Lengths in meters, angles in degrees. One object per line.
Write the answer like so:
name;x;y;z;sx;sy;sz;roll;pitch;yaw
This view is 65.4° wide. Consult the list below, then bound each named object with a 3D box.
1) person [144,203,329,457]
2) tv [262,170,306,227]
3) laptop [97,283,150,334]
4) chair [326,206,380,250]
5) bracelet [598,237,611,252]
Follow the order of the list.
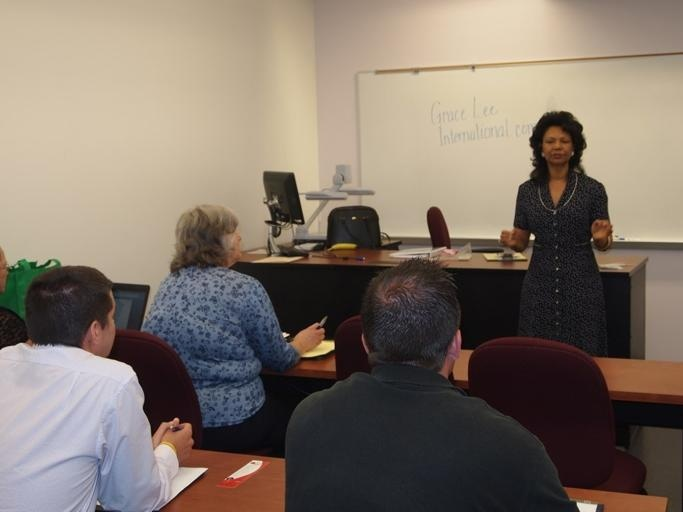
person;-0.502;0.508;2.353;0.570;1.391;0.795;0;-2;19
tv;-0.470;-0.452;4.197;0.170;0.478;0.476;-22;19;-31
laptop;-0.870;0.196;2.281;0.235;0.256;0.198;3;-2;16
chair;0.083;-0.206;4.433;0.338;0.462;0.369;1;0;-23
bracelet;1.239;-0.054;2.515;0.056;0.073;0.074;1;3;38
